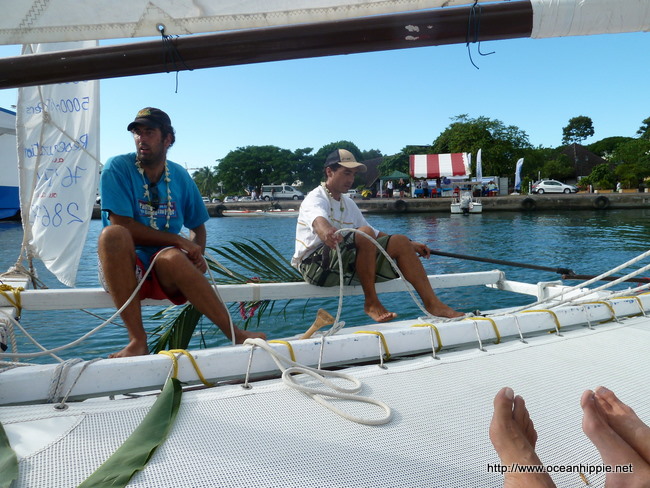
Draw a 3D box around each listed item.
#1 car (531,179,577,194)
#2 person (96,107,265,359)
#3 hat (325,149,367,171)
[{"bbox_3d":[18.307,-4.576,38.109,2.287,0.958,1.498,-1,7,23],"label":"car"},{"bbox_3d":[-0.972,-0.100,2.760,0.680,1.345,1.137,-3,15,-21],"label":"person"},{"bbox_3d":[0.155,-0.652,3.676,0.248,0.134,0.169,-1,6,15],"label":"hat"}]
